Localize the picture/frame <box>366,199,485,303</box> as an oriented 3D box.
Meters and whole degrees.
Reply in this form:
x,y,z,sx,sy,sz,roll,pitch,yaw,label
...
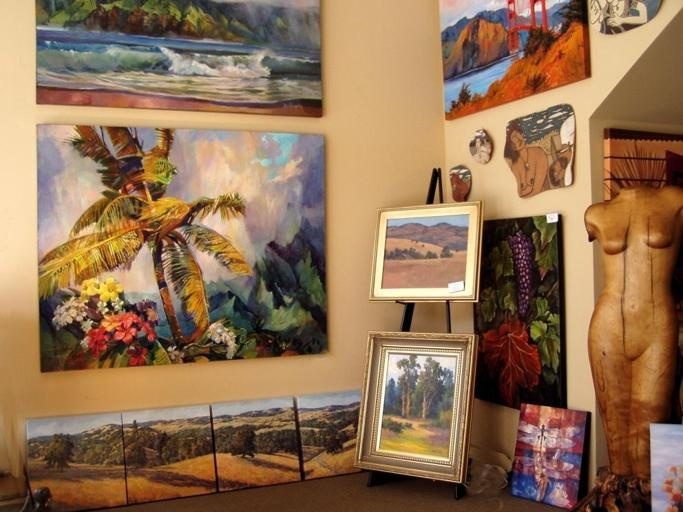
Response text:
x,y,z,sx,sy,sz,roll,pitch,yaw,label
0.613,-0.021,3.897,0.702,0.684,0.073,-4,-15,25,picture/frame
